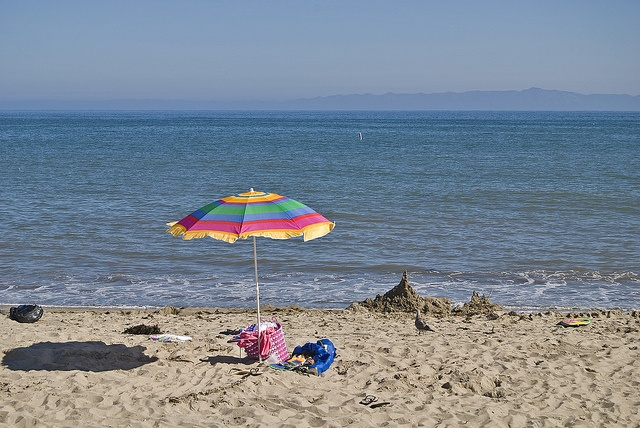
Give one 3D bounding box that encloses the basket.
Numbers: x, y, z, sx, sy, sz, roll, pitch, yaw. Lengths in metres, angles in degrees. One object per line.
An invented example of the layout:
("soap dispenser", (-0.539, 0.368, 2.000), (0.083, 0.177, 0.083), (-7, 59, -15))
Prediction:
("basket", (-1.523, 3.698, 24.919), (1.677, 0.894, 1.223), (-22, 3, -2))
